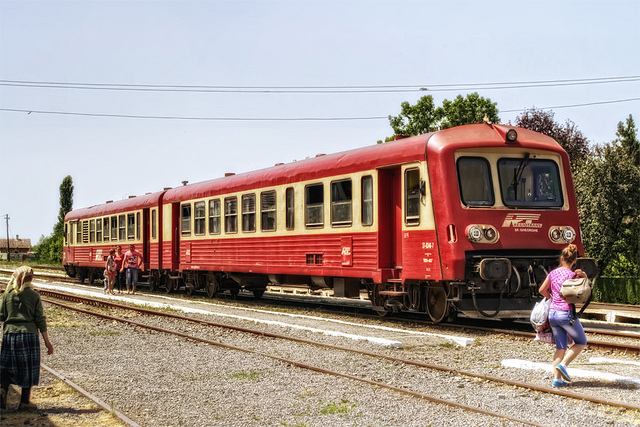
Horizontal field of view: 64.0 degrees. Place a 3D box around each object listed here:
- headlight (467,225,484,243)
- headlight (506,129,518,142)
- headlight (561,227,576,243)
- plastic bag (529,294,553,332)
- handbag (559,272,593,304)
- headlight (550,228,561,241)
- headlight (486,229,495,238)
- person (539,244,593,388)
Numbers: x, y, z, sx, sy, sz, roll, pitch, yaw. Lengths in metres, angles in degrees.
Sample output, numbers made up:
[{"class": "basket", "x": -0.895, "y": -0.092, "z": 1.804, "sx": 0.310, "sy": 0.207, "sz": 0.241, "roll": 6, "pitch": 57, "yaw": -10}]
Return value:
[{"class": "headlight", "x": 3.559, "y": 0.473, "z": 11.716, "sx": 0.395, "sy": 0.385, "sz": 0.098, "roll": 2, "pitch": -8, "yaw": -19}, {"class": "headlight", "x": 4.641, "y": -1.877, "z": 12.364, "sx": 0.405, "sy": 0.312, "sz": 0.151, "roll": 5, "pitch": -9, "yaw": -37}, {"class": "headlight", "x": 5.942, "y": 0.515, "z": 12.268, "sx": 0.416, "sy": 0.366, "sz": 0.084, "roll": 3, "pitch": -8, "yaw": -26}, {"class": "plastic bag", "x": 3.496, "y": 1.572, "z": 8.065, "sx": 0.334, "sy": 0.591, "sz": 0.263, "roll": -4, "pitch": -8, "yaw": 27}, {"class": "handbag", "x": 3.911, "y": 1.182, "z": 7.815, "sx": 0.365, "sy": 0.487, "sz": 0.503, "roll": -10, "pitch": -52, "yaw": 33}, {"class": "headlight", "x": 5.588, "y": 0.503, "z": 12.164, "sx": 0.261, "sy": 0.277, "sz": 0.089, "roll": 18, "pitch": -1, "yaw": 5}, {"class": "headlight", "x": 3.918, "y": 0.459, "z": 11.775, "sx": 0.185, "sy": 0.190, "sz": 0.040, "roll": 3, "pitch": -8, "yaw": -24}, {"class": "person", "x": 3.774, "y": 1.575, "z": 7.864, "sx": 0.663, "sy": 2.159, "sz": 0.434, "roll": -4, "pitch": -8, "yaw": 29}]
